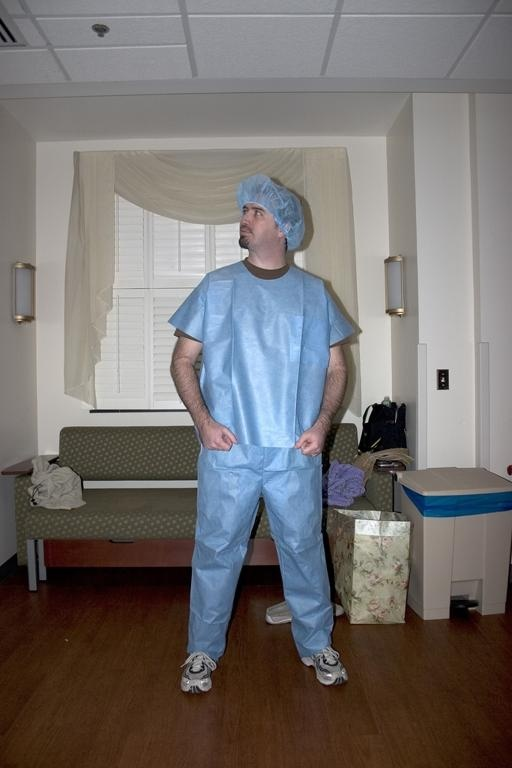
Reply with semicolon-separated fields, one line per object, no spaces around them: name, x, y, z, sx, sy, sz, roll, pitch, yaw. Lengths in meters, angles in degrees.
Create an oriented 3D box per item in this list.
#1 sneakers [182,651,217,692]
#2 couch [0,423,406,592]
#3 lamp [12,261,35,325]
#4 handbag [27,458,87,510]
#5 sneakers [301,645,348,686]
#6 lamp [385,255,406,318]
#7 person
sneakers;-0.181;0.891;1.862;0.106;0.112;0.158;-1;1;-7
couch;-0.422;0.559;2.881;1.372;0.605;0.566;0;8;0
lamp;-1.297;-0.503;3.262;0.086;0.322;0.140;3;3;32
handbag;-0.955;0.477;2.810;0.283;0.198;0.288;-1;1;-4
sneakers;0.233;0.904;1.881;0.073;0.080;0.158;5;-15;-12
lamp;0.781;-0.554;3.300;0.059;0.318;0.137;-1;1;-32
person;0.021;0.142;1.877;0.587;1.615;0.333;0;1;6
